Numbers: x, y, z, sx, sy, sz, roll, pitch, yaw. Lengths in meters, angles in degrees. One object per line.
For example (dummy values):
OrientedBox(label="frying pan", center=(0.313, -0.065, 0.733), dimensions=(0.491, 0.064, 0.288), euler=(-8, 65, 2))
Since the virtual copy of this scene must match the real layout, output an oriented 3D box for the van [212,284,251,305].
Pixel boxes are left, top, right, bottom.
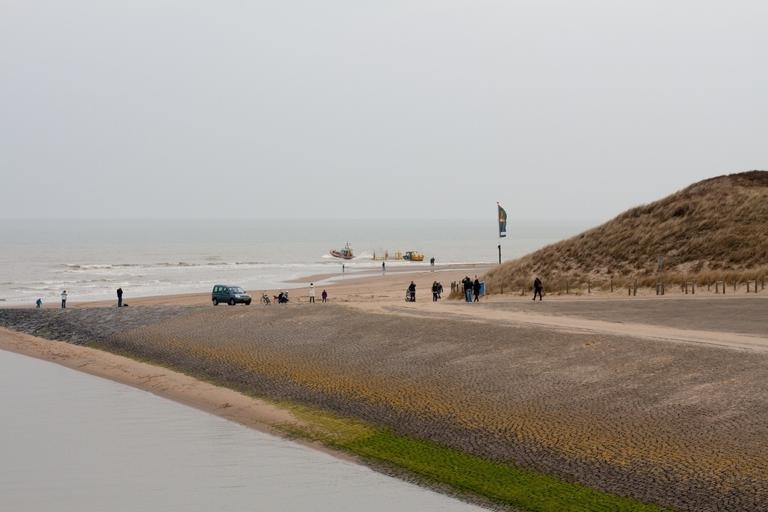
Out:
OrientedBox(label="van", center=(-11.850, 3.164, 52.390), dimensions=(2.883, 1.096, 1.758), euler=(-4, -5, 43))
